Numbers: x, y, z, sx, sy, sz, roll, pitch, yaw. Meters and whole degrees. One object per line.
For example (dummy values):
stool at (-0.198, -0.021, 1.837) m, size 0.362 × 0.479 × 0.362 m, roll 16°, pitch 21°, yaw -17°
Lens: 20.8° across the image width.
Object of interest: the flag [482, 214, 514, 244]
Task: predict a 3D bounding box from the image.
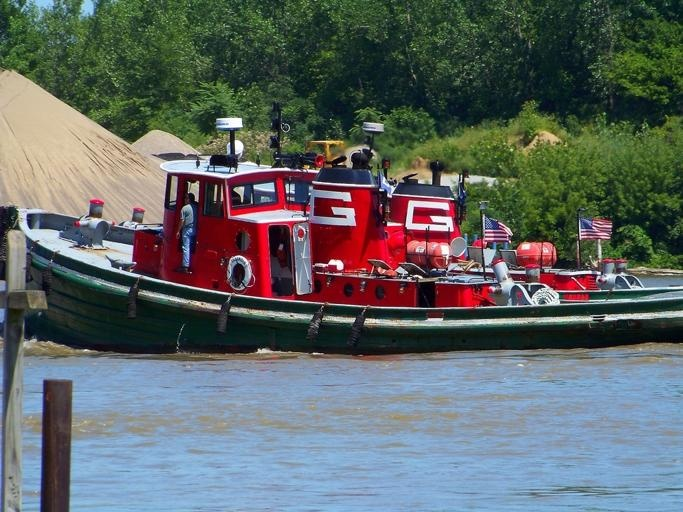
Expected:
flag at (6.310, -1.094, 75.317) m, size 1.935 × 1.376 × 0.273 m, roll 8°, pitch -23°, yaw -35°

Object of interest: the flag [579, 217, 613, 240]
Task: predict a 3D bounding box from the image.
flag at (9.422, -1.054, 69.416) m, size 1.459 × 0.964 × 0.137 m, roll 1°, pitch -20°, yaw -9°
